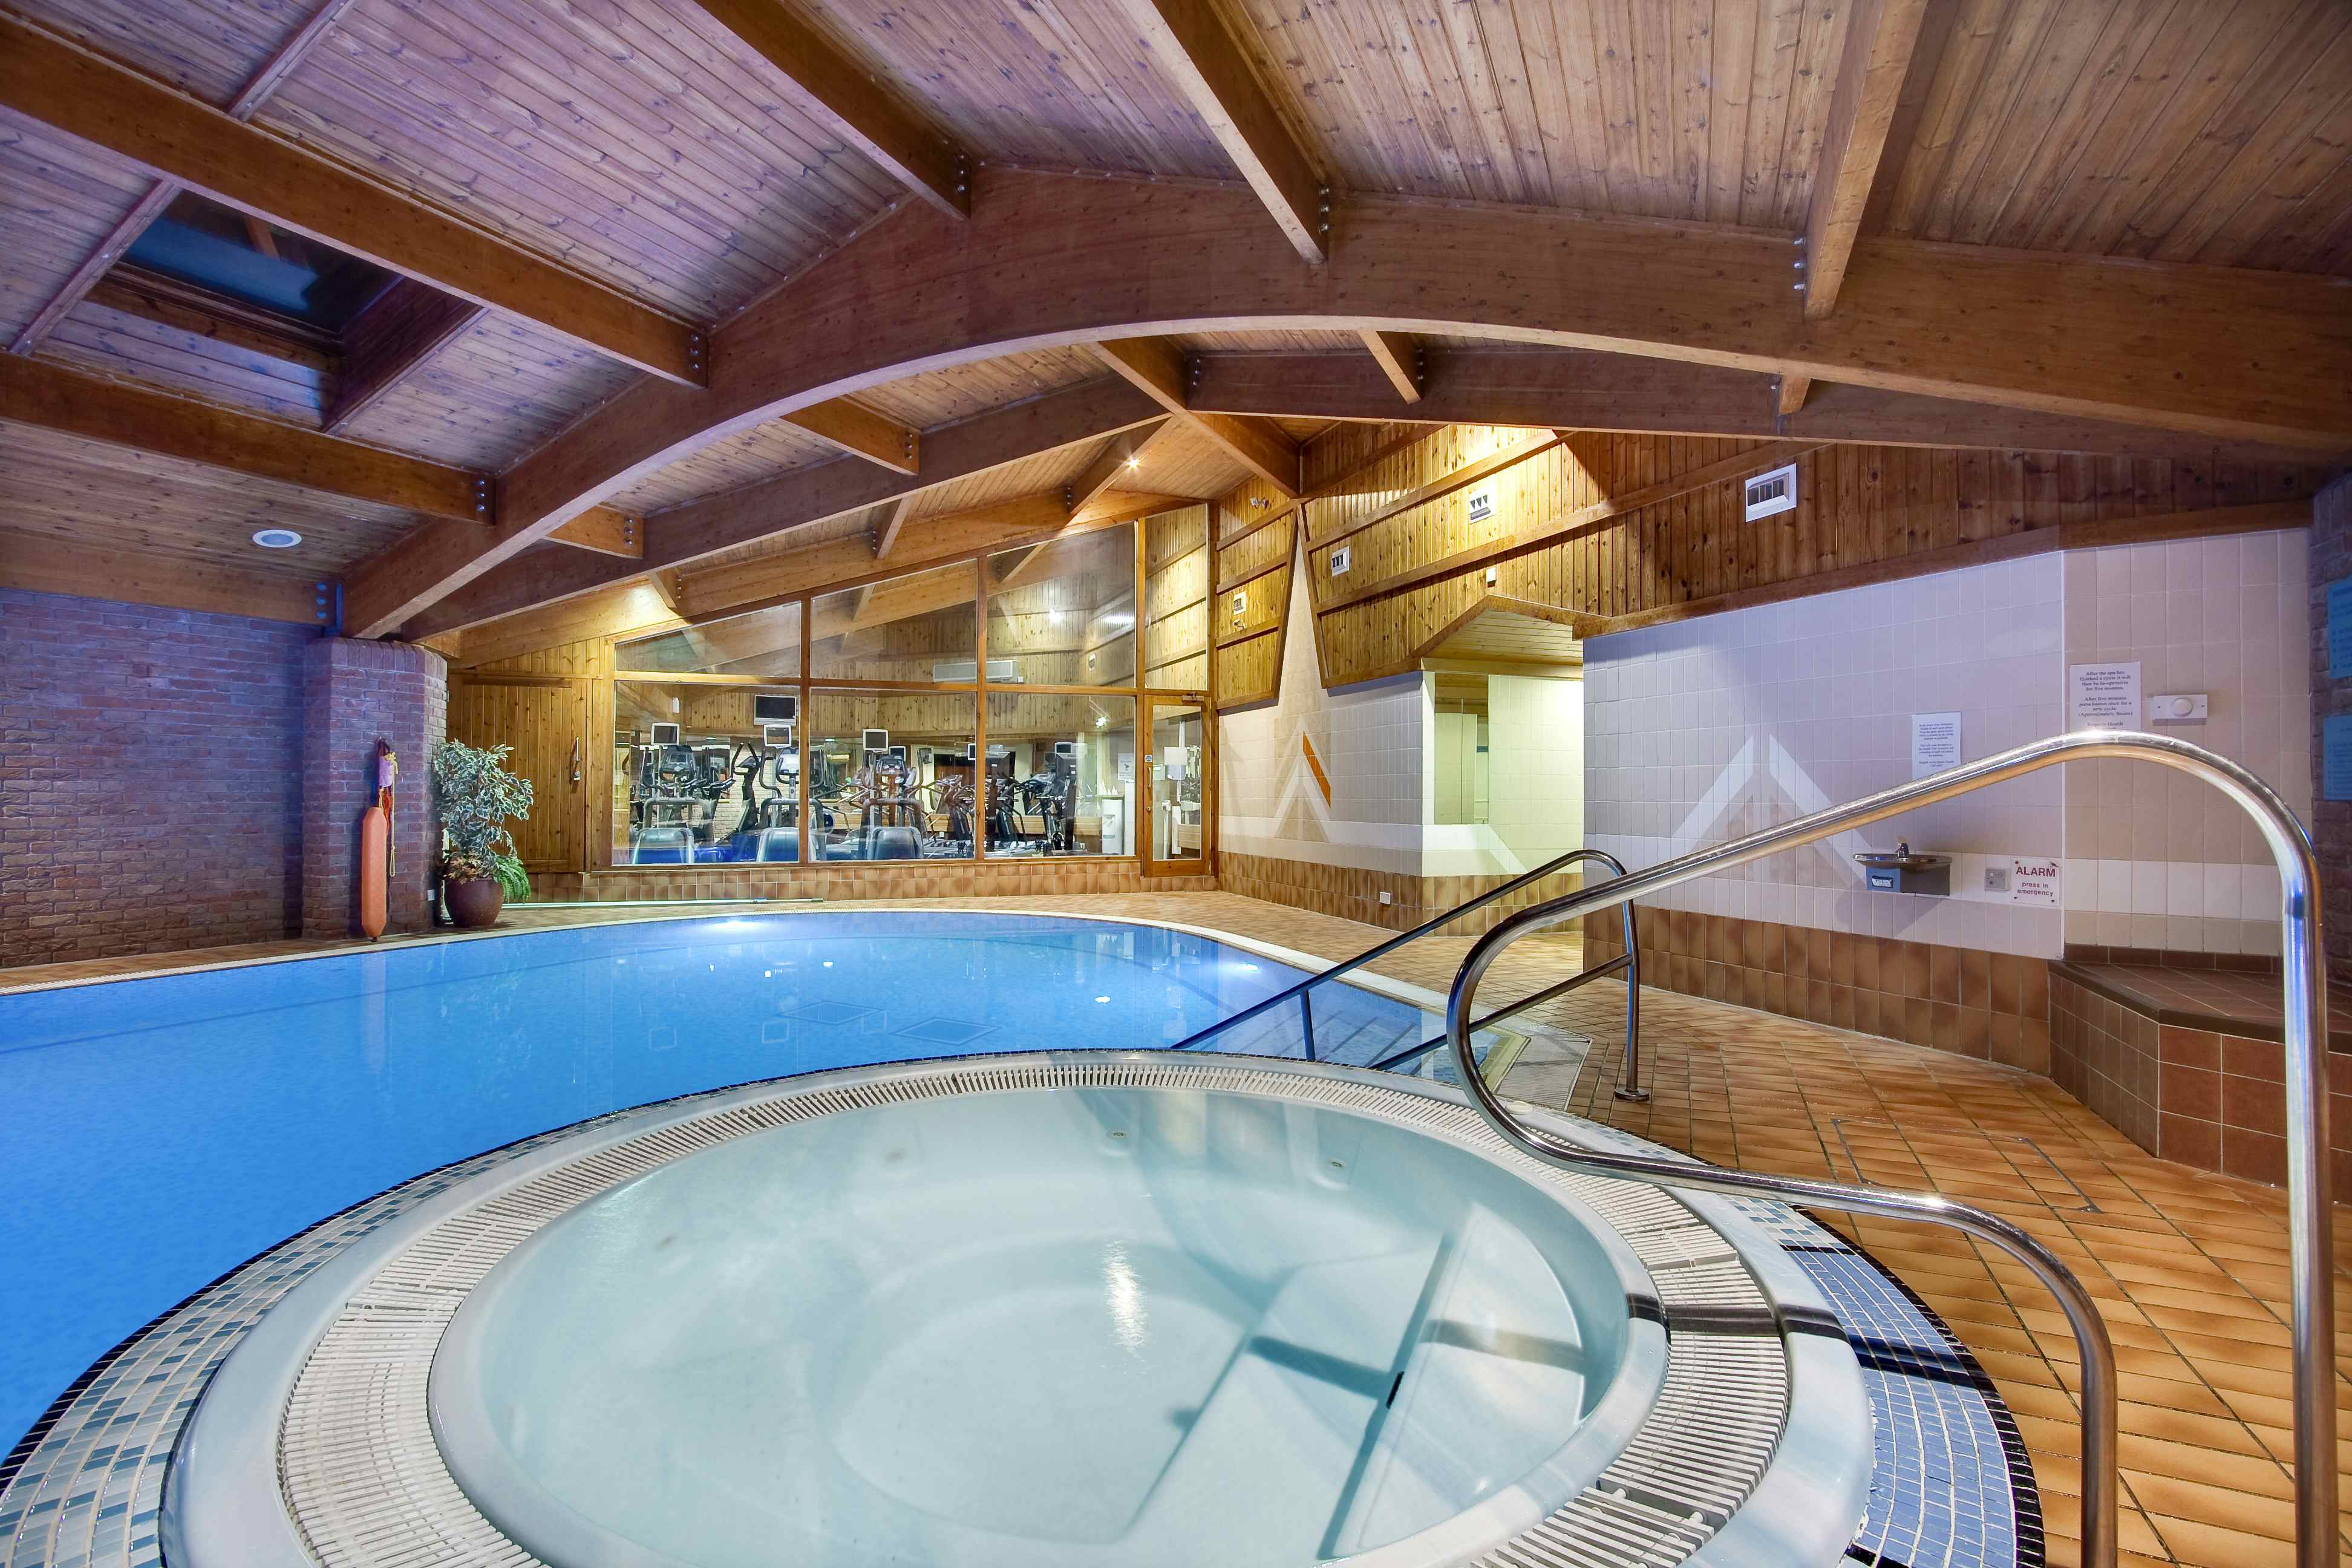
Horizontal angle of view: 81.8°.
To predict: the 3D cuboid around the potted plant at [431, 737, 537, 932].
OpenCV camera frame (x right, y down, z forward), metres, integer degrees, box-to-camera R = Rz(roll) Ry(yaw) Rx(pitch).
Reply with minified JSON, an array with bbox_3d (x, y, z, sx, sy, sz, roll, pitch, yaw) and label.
[{"bbox_3d":[-6.314,0.393,12.433,0.757,1.719,2.538,-5,14,-19],"label":"potted plant"}]
